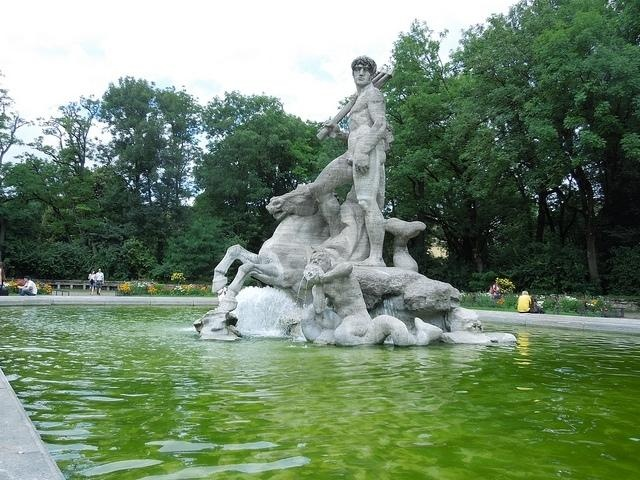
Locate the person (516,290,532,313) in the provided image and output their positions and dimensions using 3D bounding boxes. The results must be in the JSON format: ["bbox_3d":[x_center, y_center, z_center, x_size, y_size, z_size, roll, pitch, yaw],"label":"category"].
[{"bbox_3d":[8.347,2.530,18.930,0.501,0.846,0.906,-1,-4,25],"label":"person"}]

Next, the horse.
[{"bbox_3d":[-0.973,0.068,11.405,3.443,2.933,1.219,-7,20,-24],"label":"horse"}]
